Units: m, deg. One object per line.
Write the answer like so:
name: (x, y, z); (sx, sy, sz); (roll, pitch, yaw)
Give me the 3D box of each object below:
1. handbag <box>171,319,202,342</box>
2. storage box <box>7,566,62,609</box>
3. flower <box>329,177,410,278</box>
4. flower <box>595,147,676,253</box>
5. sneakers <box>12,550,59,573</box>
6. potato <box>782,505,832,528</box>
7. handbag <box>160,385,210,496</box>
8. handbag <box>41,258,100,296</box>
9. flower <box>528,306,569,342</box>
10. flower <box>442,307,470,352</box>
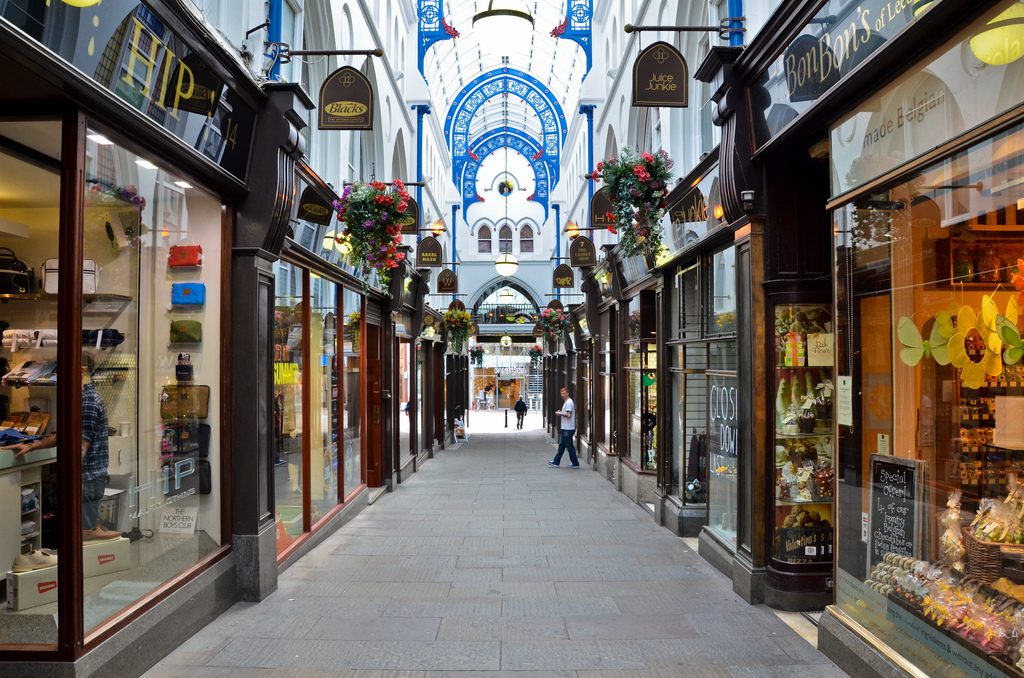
handbag: (-3.042, -0.065, 7.379); (0.112, 0.187, 0.230); (-2, -1, 40)
storage box: (-3.604, 1.869, 5.951); (0.459, 0.371, 0.118); (0, 0, 24)
flower: (-1.794, -1.445, 10.017); (0.920, 1.409, 1.202); (0, -7, -10)
flower: (1.486, -1.608, 9.986); (1.034, 1.504, 1.257); (-2, -2, 8)
sneakers: (-3.662, 1.706, 6.085); (0.304, 0.115, 0.227); (-1, -1, 9)
potato: (2.860, 1.714, 7.665); (0.456, 0.181, 0.110); (-1, 0, -6)
handbag: (-3.009, 0.930, 7.298); (0.147, 1.092, 0.592); (0, 0, 17)
handbag: (-3.415, -0.481, 6.143); (0.303, 0.241, 0.190); (2, -26, -11)
flower: (1.318, -0.495, 26.280); (0.986, 0.966, 0.973); (5, -4, 2)
flower: (-1.645, -0.208, 23.319); (0.760, 1.441, 0.753); (1, 28, 2)
